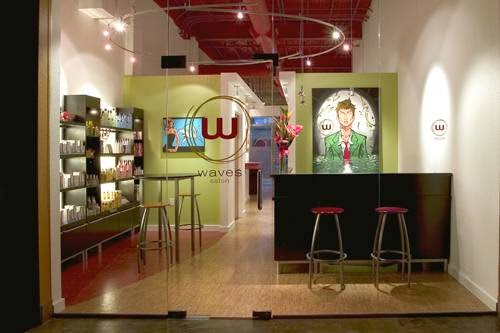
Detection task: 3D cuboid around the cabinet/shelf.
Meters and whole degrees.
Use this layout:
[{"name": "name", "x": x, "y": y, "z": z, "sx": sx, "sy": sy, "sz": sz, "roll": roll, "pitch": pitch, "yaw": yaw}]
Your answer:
[{"name": "cabinet/shelf", "x": -2.154, "y": -0.135, "z": 5.807, "sx": 0.503, "sy": 2.136, "sz": 1.907, "roll": 0, "pitch": 0, "yaw": 7}]

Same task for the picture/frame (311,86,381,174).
[{"name": "picture/frame", "x": 1.268, "y": -0.423, "z": 5.193, "sx": 1.216, "sy": 1.541, "sz": 0.017, "roll": -1, "pitch": -15, "yaw": 9}]

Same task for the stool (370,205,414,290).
[{"name": "stool", "x": 1.912, "y": 1.084, "z": 5.424, "sx": 0.542, "sy": 1.051, "sz": 0.603, "roll": 0, "pitch": 4, "yaw": 18}]

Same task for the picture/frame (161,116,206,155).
[{"name": "picture/frame", "x": -0.816, "y": -0.395, "z": 5.057, "sx": 0.498, "sy": 0.375, "sz": 0.012, "roll": 0, "pitch": 0, "yaw": 0}]

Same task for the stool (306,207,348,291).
[{"name": "stool", "x": 1.050, "y": 1.099, "z": 5.505, "sx": 0.581, "sy": 1.058, "sz": 0.511, "roll": -1, "pitch": 4, "yaw": 8}]
